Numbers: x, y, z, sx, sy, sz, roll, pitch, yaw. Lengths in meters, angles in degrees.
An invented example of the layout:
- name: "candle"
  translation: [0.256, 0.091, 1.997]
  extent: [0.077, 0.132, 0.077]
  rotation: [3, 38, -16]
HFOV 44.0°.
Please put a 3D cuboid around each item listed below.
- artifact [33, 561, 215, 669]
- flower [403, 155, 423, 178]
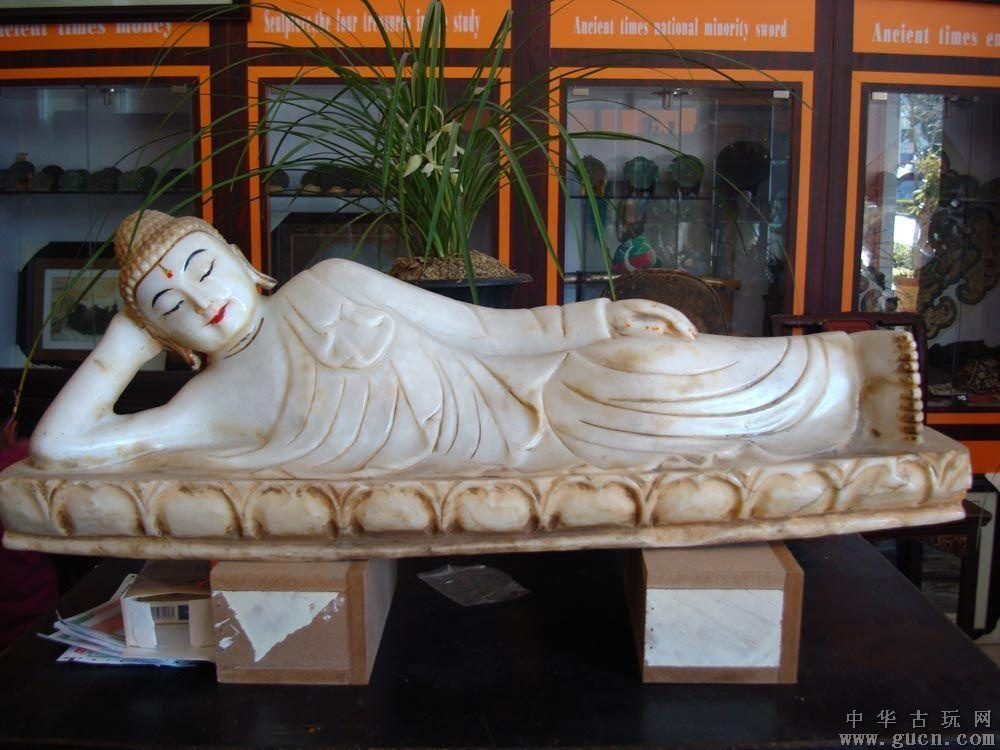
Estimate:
- name: "artifact"
  translation: [-1.006, 0.693, 3.465]
  extent: [0.323, 0.110, 0.337]
  rotation: [0, 11, -6]
- name: "flower"
  translation: [-0.270, -0.650, 3.833]
  extent: [0.058, 0.068, 0.126]
  rotation: [-1, 8, -3]
